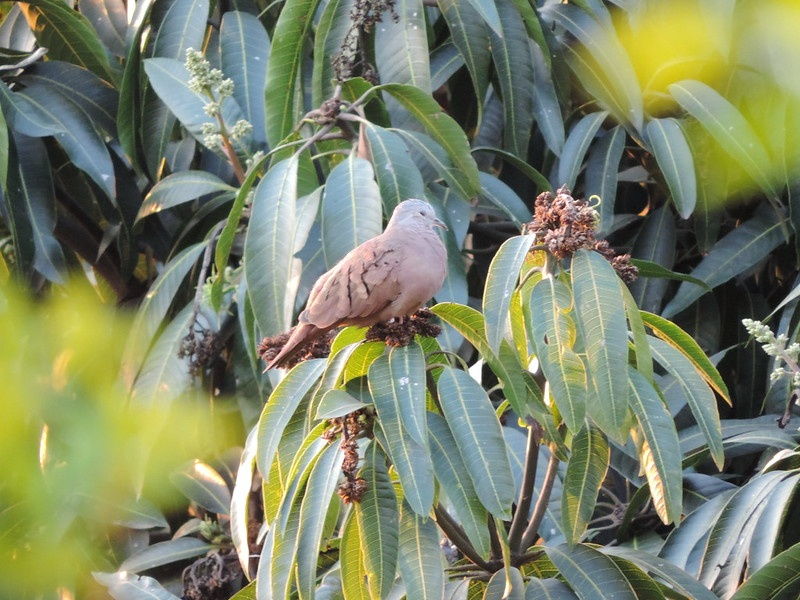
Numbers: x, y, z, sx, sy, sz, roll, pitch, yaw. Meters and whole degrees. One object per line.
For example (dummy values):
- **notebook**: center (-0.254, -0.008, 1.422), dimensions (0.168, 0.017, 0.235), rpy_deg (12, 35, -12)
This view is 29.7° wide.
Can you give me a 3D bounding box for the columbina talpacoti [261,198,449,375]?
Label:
- **columbina talpacoti**: center (-0.126, -0.038, 5.154), dimensions (0.521, 0.652, 0.316), rpy_deg (5, -7, -2)
